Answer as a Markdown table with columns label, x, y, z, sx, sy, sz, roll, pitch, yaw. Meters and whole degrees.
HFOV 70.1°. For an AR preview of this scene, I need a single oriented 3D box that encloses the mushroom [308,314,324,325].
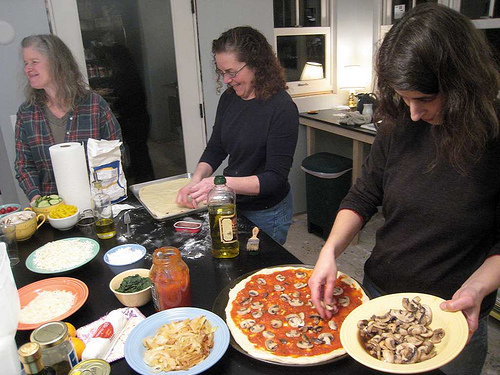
| label | x | y | z | sx | sy | sz | roll | pitch | yaw |
| --- | --- | --- | --- | --- | --- | --- | --- | --- | --- |
| mushroom | 0.230 | 0.451 | 1.225 | 0.030 | 0.009 | 0.029 | 3 | 24 | 6 |

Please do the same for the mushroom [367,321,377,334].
| label | x | y | z | sx | sy | sz | roll | pitch | yaw |
| --- | --- | --- | --- | --- | --- | --- | --- | --- | --- |
| mushroom | 0.366 | 0.417 | 1.071 | 0.033 | 0.008 | 0.020 | -46 | 16 | -6 |

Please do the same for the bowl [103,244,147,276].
| label | x | y | z | sx | sy | sz | roll | pitch | yaw |
| --- | --- | --- | --- | --- | --- | --- | --- | --- | --- |
| bowl | -0.514 | 0.272 | 1.526 | 0.183 | 0.113 | 0.161 | 12 | 16 | 34 |

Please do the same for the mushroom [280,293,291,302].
| label | x | y | z | sx | sy | sz | roll | pitch | yaw |
| --- | --- | --- | --- | --- | --- | --- | --- | --- | --- |
| mushroom | 0.133 | 0.408 | 1.330 | 0.028 | 0.013 | 0.037 | -18 | 22 | -35 |

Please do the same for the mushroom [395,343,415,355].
| label | x | y | z | sx | sy | sz | roll | pitch | yaw |
| --- | --- | --- | --- | --- | --- | --- | --- | --- | --- |
| mushroom | 0.441 | 0.451 | 1.009 | 0.056 | 0.011 | 0.042 | -3 | 18 | 4 |

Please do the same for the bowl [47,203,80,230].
| label | x | y | z | sx | sy | sz | roll | pitch | yaw |
| --- | --- | --- | --- | --- | --- | --- | --- | --- | --- |
| bowl | -0.997 | 0.154 | 1.868 | 0.150 | 0.085 | 0.151 | 5 | 24 | -2 |

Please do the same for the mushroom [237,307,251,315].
| label | x | y | z | sx | sy | sz | roll | pitch | yaw |
| --- | --- | --- | --- | --- | --- | --- | --- | --- | --- |
| mushroom | -0.021 | 0.430 | 1.258 | 0.050 | 0.010 | 0.030 | -12 | 20 | -24 |

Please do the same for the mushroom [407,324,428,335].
| label | x | y | z | sx | sy | sz | roll | pitch | yaw |
| --- | --- | --- | --- | --- | --- | --- | --- | --- | --- |
| mushroom | 0.498 | 0.417 | 1.054 | 0.034 | 0.012 | 0.034 | -12 | 7 | -15 |

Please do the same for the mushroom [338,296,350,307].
| label | x | y | z | sx | sy | sz | roll | pitch | yaw |
| --- | --- | --- | --- | --- | --- | --- | --- | --- | --- |
| mushroom | 0.348 | 0.410 | 1.288 | 0.048 | 0.010 | 0.037 | -15 | 21 | -30 |

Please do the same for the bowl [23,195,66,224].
| label | x | y | z | sx | sy | sz | roll | pitch | yaw |
| --- | --- | --- | --- | --- | --- | --- | --- | --- | --- |
| bowl | -1.120 | 0.089 | 1.953 | 0.200 | 0.136 | 0.219 | 1 | 13 | 0 |

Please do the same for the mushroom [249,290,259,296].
| label | x | y | z | sx | sy | sz | roll | pitch | yaw |
| --- | --- | --- | --- | --- | --- | --- | --- | --- | --- |
| mushroom | 0.012 | 0.394 | 1.341 | 0.034 | 0.012 | 0.030 | -6 | 18 | -5 |

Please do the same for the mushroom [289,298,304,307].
| label | x | y | z | sx | sy | sz | roll | pitch | yaw |
| --- | --- | --- | --- | --- | --- | --- | --- | --- | --- |
| mushroom | 0.172 | 0.419 | 1.311 | 0.054 | 0.010 | 0.038 | -3 | 18 | 5 |

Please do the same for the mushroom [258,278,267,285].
| label | x | y | z | sx | sy | sz | roll | pitch | yaw |
| --- | --- | --- | --- | --- | --- | --- | --- | --- | --- |
| mushroom | 0.048 | 0.364 | 1.392 | 0.033 | 0.014 | 0.029 | -5 | 18 | -2 |

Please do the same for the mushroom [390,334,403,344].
| label | x | y | z | sx | sy | sz | roll | pitch | yaw |
| --- | --- | --- | --- | --- | --- | --- | --- | --- | --- |
| mushroom | 0.444 | 0.445 | 1.054 | 0.022 | 0.006 | 0.024 | -5 | 24 | -37 |

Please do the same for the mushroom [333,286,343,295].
| label | x | y | z | sx | sy | sz | roll | pitch | yaw |
| --- | --- | --- | --- | --- | --- | --- | --- | --- | --- |
| mushroom | 0.335 | 0.383 | 1.339 | 0.033 | 0.010 | 0.048 | 0 | 18 | 13 |

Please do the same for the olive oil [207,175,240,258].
| label | x | y | z | sx | sy | sz | roll | pitch | yaw |
| --- | --- | --- | --- | --- | --- | --- | --- | --- | --- |
| olive oil | -0.099 | 0.124 | 1.555 | 0.135 | 0.342 | 0.135 | -19 | 23 | -39 |

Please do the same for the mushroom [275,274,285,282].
| label | x | y | z | sx | sy | sz | roll | pitch | yaw |
| --- | --- | --- | --- | --- | --- | --- | --- | --- | --- |
| mushroom | 0.121 | 0.354 | 1.410 | 0.037 | 0.010 | 0.031 | 9 | 22 | 35 |

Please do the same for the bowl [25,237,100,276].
| label | x | y | z | sx | sy | sz | roll | pitch | yaw |
| --- | --- | --- | --- | --- | --- | --- | --- | --- | --- |
| bowl | -0.834 | 0.307 | 1.594 | 0.289 | 0.063 | 0.287 | -4 | 18 | 1 |

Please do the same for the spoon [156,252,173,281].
| label | x | y | z | sx | sy | sz | roll | pitch | yaw |
| --- | --- | --- | --- | --- | --- | --- | --- | --- | --- |
| spoon | -0.281 | 0.255 | 1.186 | 0.077 | 0.072 | 0.074 | -11 | 6 | -4 |

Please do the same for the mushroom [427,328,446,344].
| label | x | y | z | sx | sy | sz | roll | pitch | yaw |
| --- | --- | --- | --- | --- | --- | --- | --- | --- | --- |
| mushroom | 0.550 | 0.427 | 1.034 | 0.059 | 0.022 | 0.034 | -20 | 24 | -39 |

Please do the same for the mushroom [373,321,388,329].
| label | x | y | z | sx | sy | sz | roll | pitch | yaw |
| --- | --- | --- | --- | --- | --- | --- | --- | --- | --- |
| mushroom | 0.397 | 0.411 | 1.076 | 0.025 | 0.007 | 0.024 | -12 | 26 | -26 |

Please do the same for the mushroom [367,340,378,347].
| label | x | y | z | sx | sy | sz | roll | pitch | yaw |
| --- | --- | --- | --- | --- | --- | --- | --- | --- | --- |
| mushroom | 0.360 | 0.450 | 1.037 | 0.031 | 0.007 | 0.023 | 12 | 24 | 41 |

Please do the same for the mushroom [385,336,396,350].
| label | x | y | z | sx | sy | sz | roll | pitch | yaw |
| --- | --- | --- | --- | --- | --- | --- | --- | --- | --- |
| mushroom | 0.409 | 0.445 | 1.026 | 0.029 | 0.013 | 0.037 | 2 | 19 | 17 |

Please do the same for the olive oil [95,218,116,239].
| label | x | y | z | sx | sy | sz | roll | pitch | yaw |
| --- | --- | --- | --- | --- | --- | --- | --- | --- | --- |
| olive oil | -0.716 | 0.197 | 1.748 | 0.100 | 0.094 | 0.095 | -2 | -1 | -6 |

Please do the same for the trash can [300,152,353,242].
| label | x | y | z | sx | sy | sz | roll | pitch | yaw |
| --- | --- | --- | --- | --- | --- | --- | --- | --- | --- |
| trash can | 0.784 | 0.090 | 3.922 | 0.655 | 0.835 | 0.725 | -16 | 25 | -27 |

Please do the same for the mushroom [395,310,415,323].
| label | x | y | z | sx | sy | sz | roll | pitch | yaw |
| --- | --- | --- | --- | --- | --- | --- | --- | --- | --- |
| mushroom | 0.479 | 0.393 | 1.095 | 0.031 | 0.009 | 0.038 | -9 | 25 | -7 |

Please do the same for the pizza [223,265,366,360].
| label | x | y | z | sx | sy | sz | roll | pitch | yaw |
| --- | --- | --- | --- | --- | --- | --- | --- | --- | --- |
| pizza | 0.184 | 0.415 | 1.295 | 0.496 | 0.059 | 0.473 | -14 | 33 | 4 |

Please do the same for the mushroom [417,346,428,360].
| label | x | y | z | sx | sy | sz | roll | pitch | yaw |
| --- | --- | --- | --- | --- | --- | --- | --- | --- | --- |
| mushroom | 0.486 | 0.458 | 0.996 | 0.020 | 0.022 | 0.026 | -5 | 23 | 5 |

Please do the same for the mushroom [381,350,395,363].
| label | x | y | z | sx | sy | sz | roll | pitch | yaw |
| --- | --- | --- | --- | --- | --- | --- | --- | --- | --- |
| mushroom | 0.390 | 0.462 | 0.983 | 0.022 | 0.014 | 0.026 | 4 | 34 | 1 |

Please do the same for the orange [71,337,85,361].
| label | x | y | z | sx | sy | sz | roll | pitch | yaw |
| --- | --- | --- | --- | --- | --- | --- | --- | --- | --- |
| orange | -0.531 | 0.490 | 1.091 | 0.049 | 0.043 | 0.047 | 1 | 2 | -16 |

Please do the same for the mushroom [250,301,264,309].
| label | x | y | z | sx | sy | sz | roll | pitch | yaw |
| --- | --- | --- | --- | --- | --- | --- | --- | --- | --- |
| mushroom | 0.025 | 0.424 | 1.293 | 0.054 | 0.016 | 0.029 | -20 | 24 | -39 |

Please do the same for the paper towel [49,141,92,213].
| label | x | y | z | sx | sy | sz | roll | pitch | yaw |
| --- | --- | --- | --- | --- | --- | --- | --- | --- | --- |
| paper towel | -0.962 | -0.072 | 1.981 | 0.207 | 0.372 | 0.207 | -4 | 20 | -18 |

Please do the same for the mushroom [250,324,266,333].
| label | x | y | z | sx | sy | sz | roll | pitch | yaw |
| --- | --- | --- | --- | --- | --- | --- | --- | --- | --- |
| mushroom | 0.025 | 0.470 | 1.199 | 0.058 | 0.016 | 0.035 | -8 | 19 | -11 |

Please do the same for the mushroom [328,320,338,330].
| label | x | y | z | sx | sy | sz | roll | pitch | yaw |
| --- | --- | --- | --- | --- | --- | --- | --- | --- | --- |
| mushroom | 0.281 | 0.458 | 1.200 | 0.031 | 0.009 | 0.040 | -3 | 18 | 4 |

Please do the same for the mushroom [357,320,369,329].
| label | x | y | z | sx | sy | sz | roll | pitch | yaw |
| --- | --- | --- | --- | --- | --- | --- | --- | --- | --- |
| mushroom | 0.348 | 0.413 | 1.085 | 0.038 | 0.014 | 0.022 | -10 | 19 | -18 |

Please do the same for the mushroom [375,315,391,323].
| label | x | y | z | sx | sy | sz | roll | pitch | yaw |
| --- | --- | --- | --- | --- | --- | --- | --- | --- | --- |
| mushroom | 0.410 | 0.398 | 1.088 | 0.030 | 0.011 | 0.019 | 3 | 10 | -12 |

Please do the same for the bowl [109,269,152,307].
| label | x | y | z | sx | sy | sz | roll | pitch | yaw |
| --- | --- | --- | --- | --- | --- | --- | --- | --- | --- |
| bowl | -0.448 | 0.356 | 1.354 | 0.175 | 0.121 | 0.177 | -2 | 11 | 0 |

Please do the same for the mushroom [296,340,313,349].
| label | x | y | z | sx | sy | sz | roll | pitch | yaw |
| --- | --- | --- | --- | --- | --- | --- | --- | --- | --- |
| mushroom | 0.175 | 0.492 | 1.124 | 0.045 | 0.008 | 0.030 | 9 | 22 | 34 |

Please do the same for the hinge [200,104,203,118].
| label | x | y | z | sx | sy | sz | roll | pitch | yaw |
| --- | --- | --- | --- | --- | --- | --- | --- | --- | --- |
| hinge | -0.499 | -0.773 | 3.593 | 0.024 | 0.135 | 0.011 | -4 | 20 | 3 |
